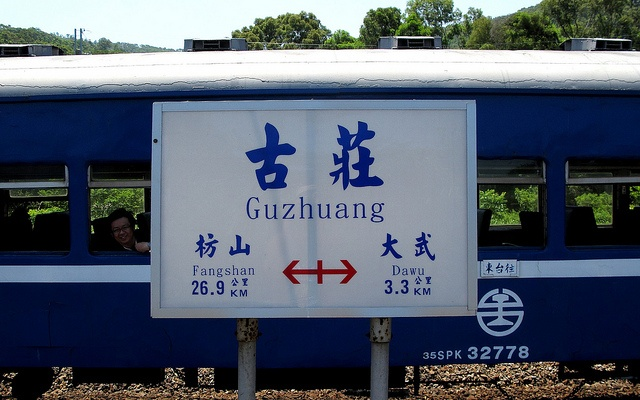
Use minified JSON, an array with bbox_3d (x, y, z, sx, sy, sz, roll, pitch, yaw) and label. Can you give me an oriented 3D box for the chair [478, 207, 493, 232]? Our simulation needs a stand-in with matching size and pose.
[{"bbox_3d":[2.149,0.253,13.451,0.251,0.262,0.460,1,2,-1],"label":"chair"}]
